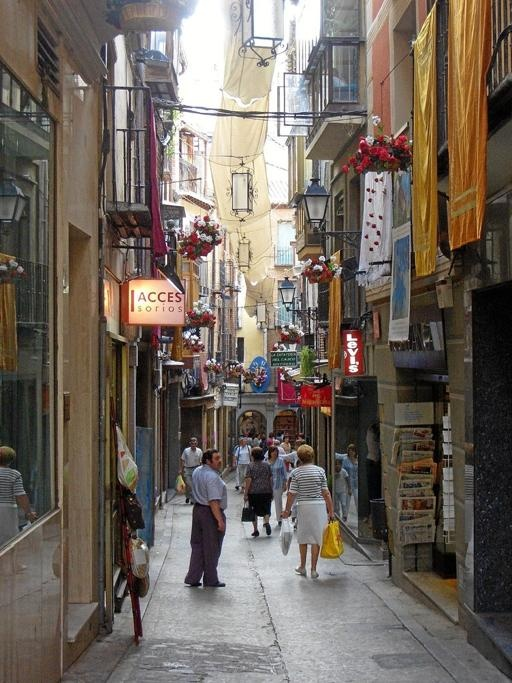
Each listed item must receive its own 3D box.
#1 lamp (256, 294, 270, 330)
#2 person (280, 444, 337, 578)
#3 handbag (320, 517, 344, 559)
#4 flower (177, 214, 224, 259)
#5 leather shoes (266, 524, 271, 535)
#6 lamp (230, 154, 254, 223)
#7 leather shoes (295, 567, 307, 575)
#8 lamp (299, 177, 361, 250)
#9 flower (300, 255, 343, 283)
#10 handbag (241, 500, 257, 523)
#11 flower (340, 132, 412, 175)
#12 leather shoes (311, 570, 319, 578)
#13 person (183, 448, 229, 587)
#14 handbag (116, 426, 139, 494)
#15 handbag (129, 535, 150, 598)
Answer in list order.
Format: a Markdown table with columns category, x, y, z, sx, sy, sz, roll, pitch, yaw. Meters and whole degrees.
| category | x | y | z | sx | sy | sz | roll | pitch | yaw |
| --- | --- | --- | --- | --- | --- | --- | --- | --- | --- |
| lamp | 0.418 | -1.503 | 47.828 | 0.695 | 3.552 | 0.910 | -1 | 4 | 3 |
| person | 0.635 | 1.991 | 10.294 | 0.689 | 1.500 | 0.528 | -4 | -6 | 42 |
| handbag | 0.898 | 2.145 | 10.277 | 0.226 | 0.804 | 0.615 | -1 | -9 | 8 |
| flower | -0.909 | -1.781 | 14.416 | 0.692 | 0.747 | 0.779 | 0 | -5 | -6 |
| leather shoes | 0.199 | 3.147 | 14.559 | 0.111 | 0.200 | 0.270 | 0 | -6 | 1 |
| lamp | -0.248 | -2.764 | 16.358 | 0.453 | 0.724 | 1.306 | 0 | -6 | -2 |
| leather shoes | 0.526 | 2.683 | 10.125 | 0.130 | 0.088 | 0.348 | 0 | -6 | 0 |
| lamp | 1.145 | -1.908 | 13.694 | 0.786 | 1.684 | 0.477 | -6 | -35 | 6 |
| flower | 1.139 | -1.259 | 15.152 | 0.653 | 0.466 | 0.685 | 0 | -6 | 1 |
| handbag | -0.109 | 2.835 | 14.360 | 0.180 | 0.293 | 0.478 | -3 | -6 | 29 |
| flower | 1.103 | -1.622 | 7.608 | 0.580 | 0.362 | 0.367 | 2 | -6 | -21 |
| leather shoes | 0.675 | 2.683 | 10.016 | 0.050 | 0.087 | 0.163 | -1 | -10 | 0 |
| person | -0.544 | 1.925 | 9.548 | 0.435 | 1.457 | 0.552 | 0 | -4 | -5 |
| handbag | -1.145 | 1.046 | 7.715 | 0.183 | 0.578 | 0.386 | 1 | -5 | -10 |
| handbag | -0.917 | 1.804 | 6.899 | 0.132 | 0.475 | 0.291 | 0 | -5 | -3 |
